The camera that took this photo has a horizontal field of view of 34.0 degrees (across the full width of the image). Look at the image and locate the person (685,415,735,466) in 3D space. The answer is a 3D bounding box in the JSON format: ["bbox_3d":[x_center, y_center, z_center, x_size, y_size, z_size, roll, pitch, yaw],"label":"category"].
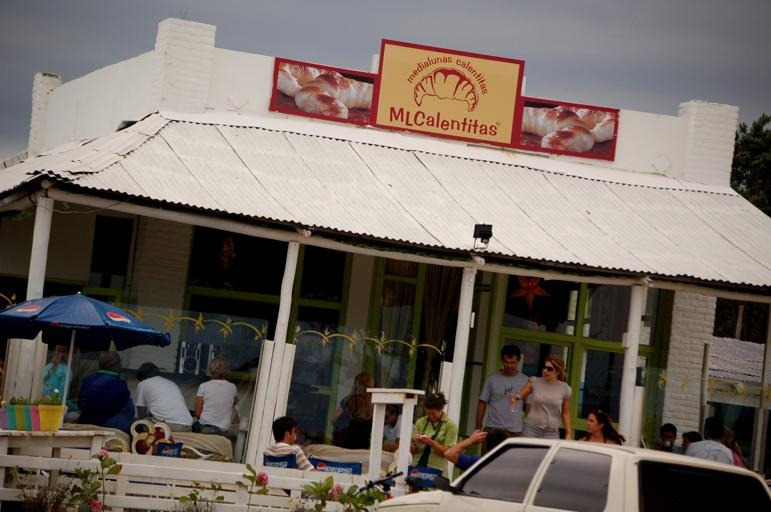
[{"bbox_3d":[5.040,2.846,19.475,0.752,0.685,0.376,4,-10,11],"label":"person"}]

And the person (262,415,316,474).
[{"bbox_3d":[-1.574,2.891,19.504,0.544,0.801,0.963,6,-9,-44],"label":"person"}]

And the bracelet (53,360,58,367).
[{"bbox_3d":[-5.335,1.713,20.199,0.069,0.059,0.066,1,-11,-2],"label":"bracelet"}]

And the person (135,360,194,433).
[{"bbox_3d":[-3.696,2.259,20.412,0.758,1.188,0.751,-11,3,-26],"label":"person"}]

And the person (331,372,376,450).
[{"bbox_3d":[-0.563,2.563,21.060,0.635,1.278,0.247,4,-7,-2],"label":"person"}]

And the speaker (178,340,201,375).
[{"bbox_3d":[-3.203,1.635,20.407,0.486,0.484,0.183,7,1,-29],"label":"speaker"}]

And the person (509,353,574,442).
[{"bbox_3d":[2.597,2.282,20.652,0.873,1.327,0.545,3,-7,5],"label":"person"}]

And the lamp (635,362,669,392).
[{"bbox_3d":[4.662,2.156,22.071,0.689,0.426,0.364,1,-5,1],"label":"lamp"}]
